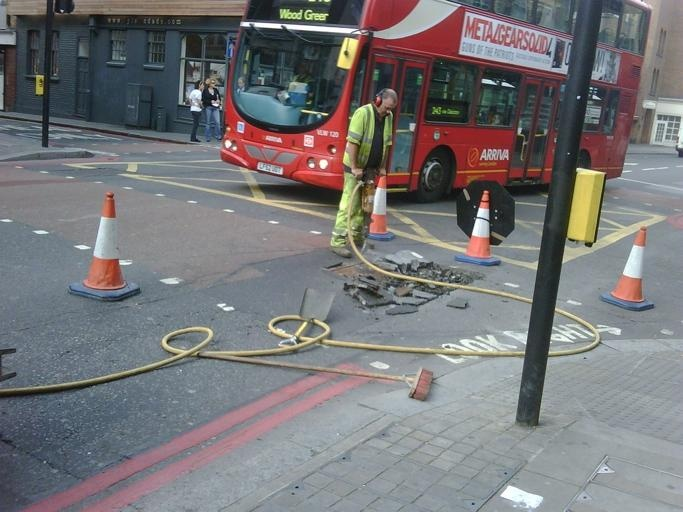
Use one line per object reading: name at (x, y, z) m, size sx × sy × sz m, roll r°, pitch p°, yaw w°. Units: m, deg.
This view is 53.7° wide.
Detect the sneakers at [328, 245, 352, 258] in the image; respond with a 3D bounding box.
sneakers at (-0.032, -0.069, 9.473) m, size 0.328 × 0.101 × 0.122 m, roll 13°, pitch 19°, yaw 32°

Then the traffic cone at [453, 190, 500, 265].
traffic cone at (2.008, -0.410, 9.687) m, size 0.577 × 1.056 × 0.418 m, roll 10°, pitch 15°, yaw 18°

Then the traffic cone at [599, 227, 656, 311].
traffic cone at (3.758, 0.095, 8.693) m, size 0.622 × 1.033 × 0.947 m, roll 11°, pitch 15°, yaw 23°

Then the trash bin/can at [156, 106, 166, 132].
trash bin/can at (-7.166, -5.530, 27.069) m, size 0.355 × 0.977 × 0.576 m, roll -1°, pitch 15°, yaw -22°

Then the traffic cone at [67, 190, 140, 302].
traffic cone at (-2.460, -0.131, 7.075) m, size 0.712 × 1.128 × 0.476 m, roll 1°, pitch 15°, yaw -16°

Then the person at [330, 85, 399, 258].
person at (0.300, -1.206, 9.582) m, size 0.693 × 2.309 × 1.084 m, roll 6°, pitch 14°, yaw 2°
